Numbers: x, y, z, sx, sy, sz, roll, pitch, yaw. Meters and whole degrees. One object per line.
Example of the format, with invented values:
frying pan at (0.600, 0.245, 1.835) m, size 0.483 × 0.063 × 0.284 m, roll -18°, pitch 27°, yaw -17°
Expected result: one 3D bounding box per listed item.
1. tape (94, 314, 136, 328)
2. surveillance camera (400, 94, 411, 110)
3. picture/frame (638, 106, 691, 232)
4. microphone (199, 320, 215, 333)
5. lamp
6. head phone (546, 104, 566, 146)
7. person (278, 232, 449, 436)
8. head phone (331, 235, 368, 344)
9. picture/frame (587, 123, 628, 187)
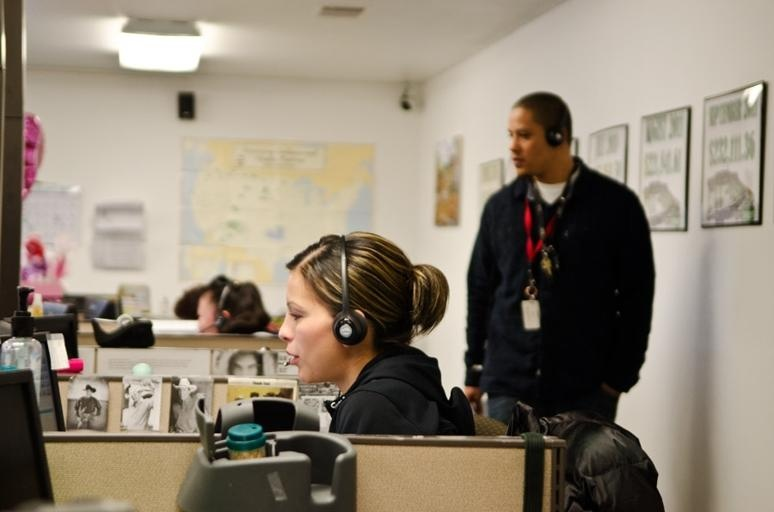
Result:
tape at (-1.327, 0.325, 3.672) m, size 0.173 × 0.059 × 0.129 m, roll -3°, pitch -2°, yaw -15°
surveillance camera at (0.127, -0.967, 4.724) m, size 0.076 × 0.075 × 0.026 m, roll 2°, pitch 4°, yaw 5°
picture/frame at (1.278, -0.385, 3.419) m, size 0.050 × 0.545 × 0.266 m, roll 1°, pitch -1°, yaw -26°
microphone at (-1.042, 0.407, 4.350) m, size 0.082 × 0.079 × 0.061 m, roll -14°, pitch 3°, yaw 2°
lamp at (-1.363, -1.265, 4.530) m, size 0.498 × 0.303 × 0.087 m, roll 1°, pitch -1°, yaw -5°
head phone at (0.879, -0.667, 3.860) m, size 0.073 × 0.183 × 0.147 m, roll 18°, pitch -29°, yaw 4°
person at (-0.044, 0.220, 2.555) m, size 0.533 × 0.789 × 0.667 m, roll 0°, pitch -5°, yaw 5°
head phone at (-0.110, 0.112, 2.262) m, size 0.097 × 0.285 × 0.224 m, roll -7°, pitch -23°, yaw -4°
picture/frame at (1.094, -0.488, 3.674) m, size 0.025 × 0.274 × 0.304 m, roll 6°, pitch -9°, yaw -28°
